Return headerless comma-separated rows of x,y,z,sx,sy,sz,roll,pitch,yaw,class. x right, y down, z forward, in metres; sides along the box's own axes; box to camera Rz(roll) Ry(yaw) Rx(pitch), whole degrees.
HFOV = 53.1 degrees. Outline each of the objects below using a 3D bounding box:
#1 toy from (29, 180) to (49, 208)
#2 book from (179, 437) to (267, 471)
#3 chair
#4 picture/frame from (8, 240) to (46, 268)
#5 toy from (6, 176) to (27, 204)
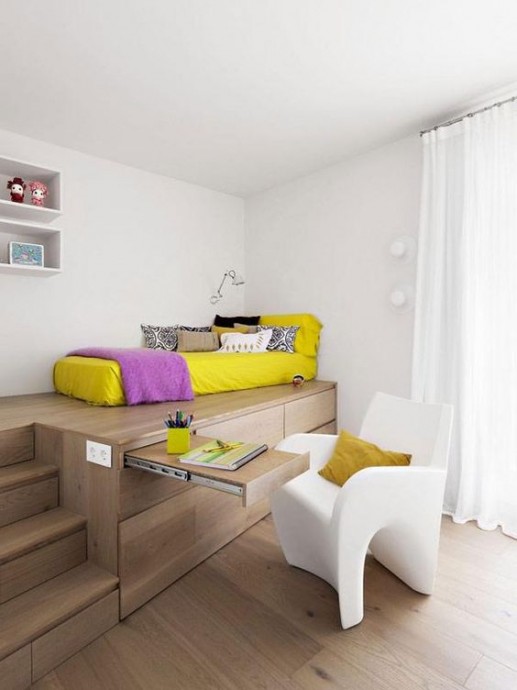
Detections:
-1.356,-0.917,3.163,0.083,0.174,0.217,-2,8,-16,toy
-0.131,0.384,1.834,0.252,0.034,0.287,4,8,24,book
0.359,0.640,2.283,0.808,0.946,0.734,10,-8,-27,chair
-1.410,-0.542,3.104,0.079,0.186,0.226,0,2,36,picture/frame
-1.467,-0.927,3.121,0.104,0.178,0.309,-3,8,-24,toy
